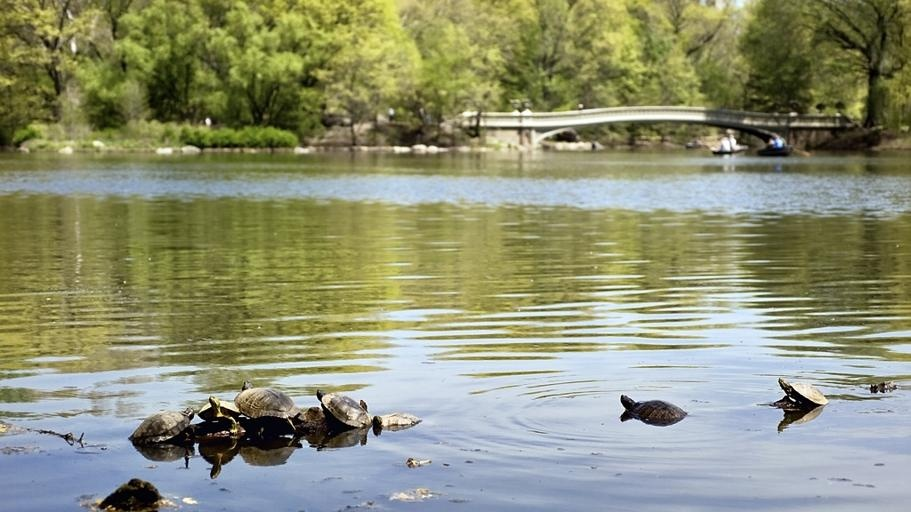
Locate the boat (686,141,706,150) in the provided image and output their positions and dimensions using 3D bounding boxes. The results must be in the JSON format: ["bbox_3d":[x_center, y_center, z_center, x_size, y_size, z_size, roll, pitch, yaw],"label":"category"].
[{"bbox_3d":[26.631,-12.147,149.573,1.087,0.597,4.165,3,7,3],"label":"boat"}]

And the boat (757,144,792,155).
[{"bbox_3d":[28.221,-9.250,119.905,1.658,1.098,3.489,-4,3,-15],"label":"boat"}]

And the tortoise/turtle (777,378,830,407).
[{"bbox_3d":[12.918,5.088,50.447,1.485,0.412,1.095,24,13,15],"label":"tortoise/turtle"}]

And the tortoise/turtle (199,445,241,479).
[{"bbox_3d":[-8.576,7.383,49.403,1.177,1.194,0.367,-1,-29,-4],"label":"tortoise/turtle"}]
